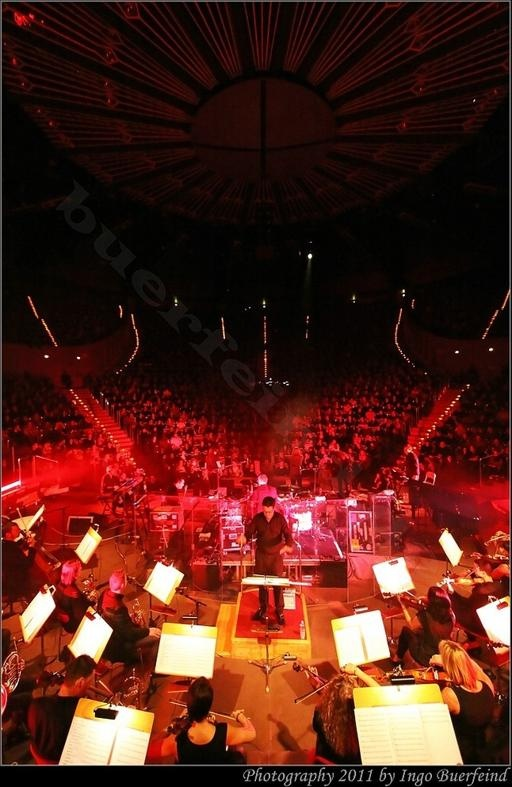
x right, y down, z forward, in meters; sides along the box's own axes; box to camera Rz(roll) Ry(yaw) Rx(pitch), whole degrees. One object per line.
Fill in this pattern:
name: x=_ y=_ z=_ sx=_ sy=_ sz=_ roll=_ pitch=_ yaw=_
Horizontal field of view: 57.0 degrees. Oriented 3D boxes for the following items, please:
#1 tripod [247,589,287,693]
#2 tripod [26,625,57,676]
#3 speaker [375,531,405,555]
tripod: x=0.112 y=2.769 z=5.132 sx=0.320 sy=0.412 sz=0.700 roll=2 pitch=-87 yaw=-6
tripod: x=-2.354 y=2.832 z=5.212 sx=0.303 sy=0.331 sz=0.084 roll=-2 pitch=-75 yaw=6
speaker: x=2.138 y=2.415 z=7.613 sx=0.400 sy=0.308 sz=0.215 roll=5 pitch=-8 yaw=-43
